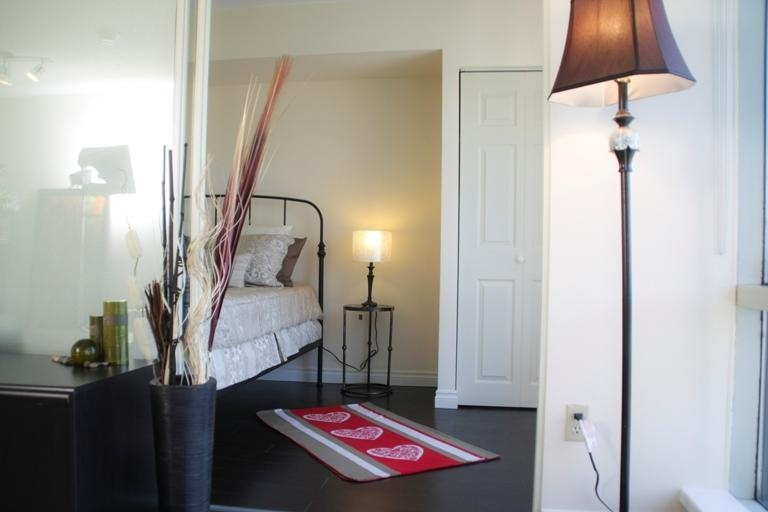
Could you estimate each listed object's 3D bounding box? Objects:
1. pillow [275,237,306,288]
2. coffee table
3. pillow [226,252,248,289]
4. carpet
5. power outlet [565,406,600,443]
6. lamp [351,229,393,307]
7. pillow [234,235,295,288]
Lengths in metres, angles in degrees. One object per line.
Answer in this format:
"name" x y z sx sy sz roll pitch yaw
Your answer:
"pillow" -0.767 0.051 4.815 0.092 0.305 0.322 21 -31 0
"coffee table" -0.135 0.701 4.802 0.427 0.718 0.592 1 6 -1
"pillow" -1.040 0.108 4.379 0.136 0.226 0.342 0 6 -8
"carpet" -0.097 1.106 3.731 0.871 0.037 1.374 -4 7 -37
"power outlet" 0.874 0.743 2.675 0.155 0.272 0.028 0 0 7
"lamp" -0.096 0.088 4.803 0.290 0.587 0.371 1 6 1
"pillow" -0.905 0.015 4.570 0.379 0.375 0.116 6 -16 22
